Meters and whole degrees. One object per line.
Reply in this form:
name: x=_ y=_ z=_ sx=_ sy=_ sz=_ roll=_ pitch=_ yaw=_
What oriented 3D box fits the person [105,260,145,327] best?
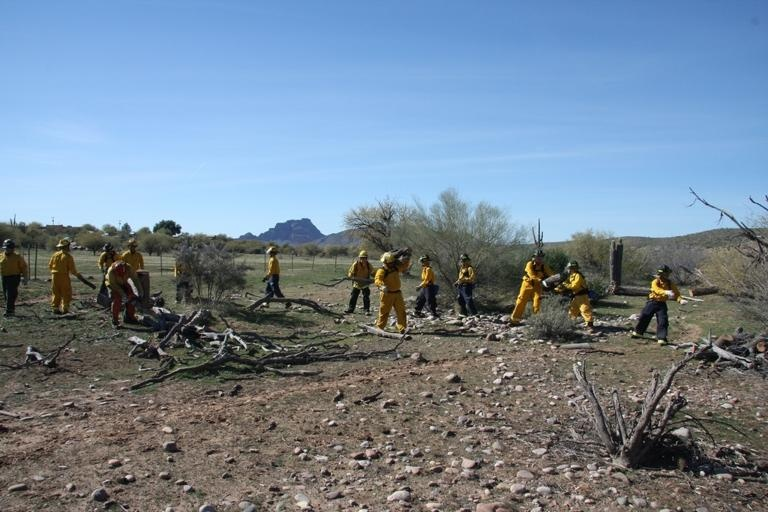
person: x=-7.331 y=1.024 z=12.463 sx=0.759 sy=1.819 sz=1.268 roll=-7 pitch=11 yaw=-28

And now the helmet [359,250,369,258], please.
helmet: x=-0.826 y=-0.104 z=16.538 sx=0.391 sy=0.219 sz=0.483 roll=0 pitch=-6 yaw=6

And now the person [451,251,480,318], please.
person: x=2.859 y=1.071 z=15.456 sx=0.648 sy=2.186 sz=1.261 roll=0 pitch=9 yaw=9

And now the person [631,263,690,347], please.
person: x=7.236 y=1.232 z=11.603 sx=1.428 sy=1.975 sz=0.977 roll=-7 pitch=11 yaw=-30

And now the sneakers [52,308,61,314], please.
sneakers: x=-9.952 y=1.630 z=13.423 sx=0.206 sy=0.143 sz=0.499 roll=-7 pitch=9 yaw=-36

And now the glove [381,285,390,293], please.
glove: x=-0.016 y=0.950 z=12.852 sx=0.239 sy=0.224 sz=0.164 roll=-1 pitch=9 yaw=-1

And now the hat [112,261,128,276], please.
hat: x=-7.212 y=0.326 z=12.064 sx=0.323 sy=0.318 sz=0.376 roll=-18 pitch=25 yaw=-30
